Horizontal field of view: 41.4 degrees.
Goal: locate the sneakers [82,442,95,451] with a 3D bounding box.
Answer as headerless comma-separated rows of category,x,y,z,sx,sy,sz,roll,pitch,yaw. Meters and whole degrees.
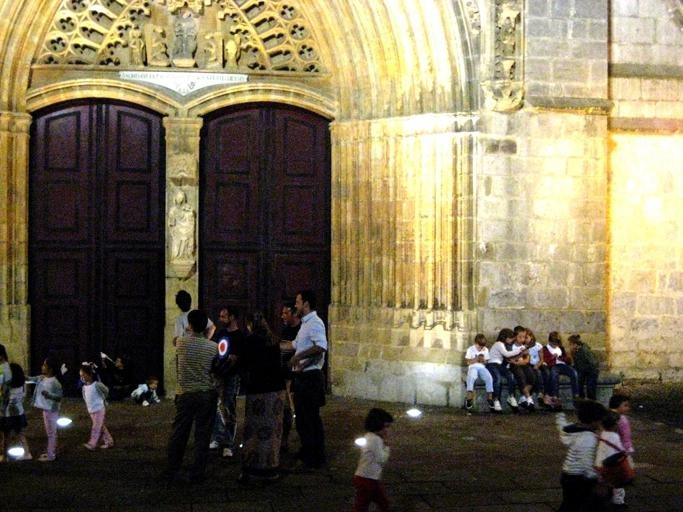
sneakers,-3.206,2.422,11.523,0.153,0.061,0.083,33,-19,-13

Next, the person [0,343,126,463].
person,-3.863,2.058,12.475,1.651,1.219,0.573,0,1,-26

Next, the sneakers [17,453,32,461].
sneakers,-3.879,2.450,11.084,0.161,0.096,0.062,3,0,7

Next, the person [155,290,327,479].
person,-1.331,1.581,10.425,1.335,1.926,0.459,0,5,-5

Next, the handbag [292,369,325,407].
handbag,-0.403,1.588,10.914,0.530,0.432,0.300,2,-2,-13

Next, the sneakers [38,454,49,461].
sneakers,-3.640,2.465,11.084,0.119,0.037,0.083,5,13,0

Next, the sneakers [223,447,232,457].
sneakers,-1.408,2.426,11.234,0.119,0.074,0.178,0,-5,-6

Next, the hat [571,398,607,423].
hat,2.548,1.556,9.202,0.283,0.236,0.203,-15,12,-8
